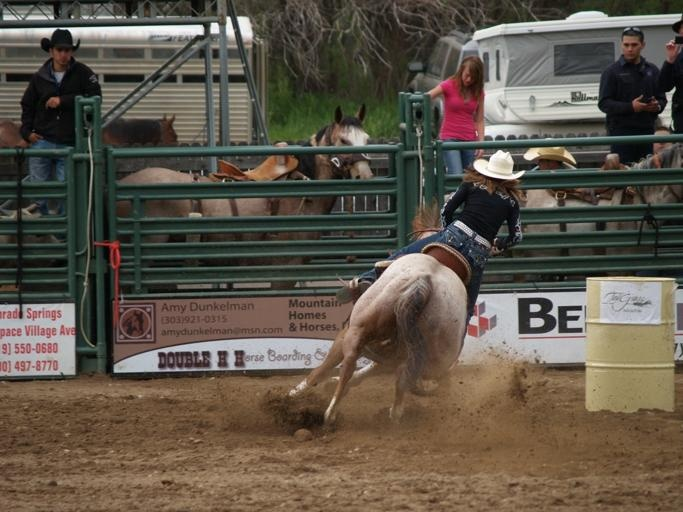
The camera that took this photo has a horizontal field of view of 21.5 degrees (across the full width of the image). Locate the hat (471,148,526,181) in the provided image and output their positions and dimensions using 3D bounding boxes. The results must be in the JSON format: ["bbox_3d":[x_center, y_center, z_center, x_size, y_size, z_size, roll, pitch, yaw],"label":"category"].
[{"bbox_3d":[2.043,-1.217,23.493,0.515,0.245,0.619,10,15,-4],"label":"hat"}]

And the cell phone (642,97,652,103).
[{"bbox_3d":[4.301,-2.229,25.170,0.132,0.116,0.274,-1,2,8],"label":"cell phone"}]

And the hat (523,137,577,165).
[{"bbox_3d":[2.964,-1.439,25.120,0.513,0.151,0.400,8,22,-16],"label":"hat"}]

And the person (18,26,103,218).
[{"bbox_3d":[-3.952,-1.905,24.849,1.050,2.589,0.699,-1,1,16],"label":"person"}]

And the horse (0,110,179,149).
[{"bbox_3d":[-3.893,-1.942,27.317,1.471,0.354,0.828,-3,-17,-12],"label":"horse"}]
